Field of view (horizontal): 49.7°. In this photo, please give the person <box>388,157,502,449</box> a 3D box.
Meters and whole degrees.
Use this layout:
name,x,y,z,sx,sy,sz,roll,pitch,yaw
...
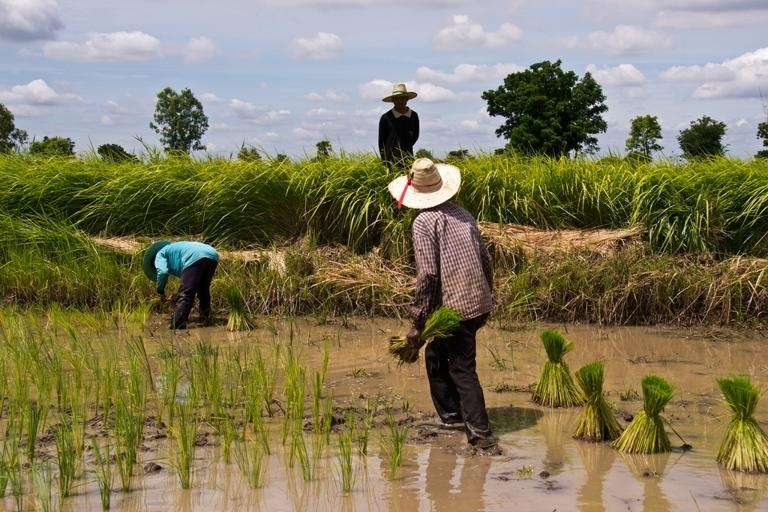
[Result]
name,x,y,z,sx,sy,sz,roll,pitch,yaw
person,0.663,0.428,8.461,1.006,2.832,0.859,1,9,17

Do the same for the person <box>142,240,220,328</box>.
name,x,y,z,sx,sy,sz,roll,pitch,yaw
person,-2.910,0.387,11.777,1.086,1.249,0.792,1,1,34

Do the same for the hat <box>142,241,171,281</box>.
name,x,y,z,sx,sy,sz,roll,pitch,yaw
hat,-3.220,0.051,11.533,0.115,0.502,0.488,9,-11,36
